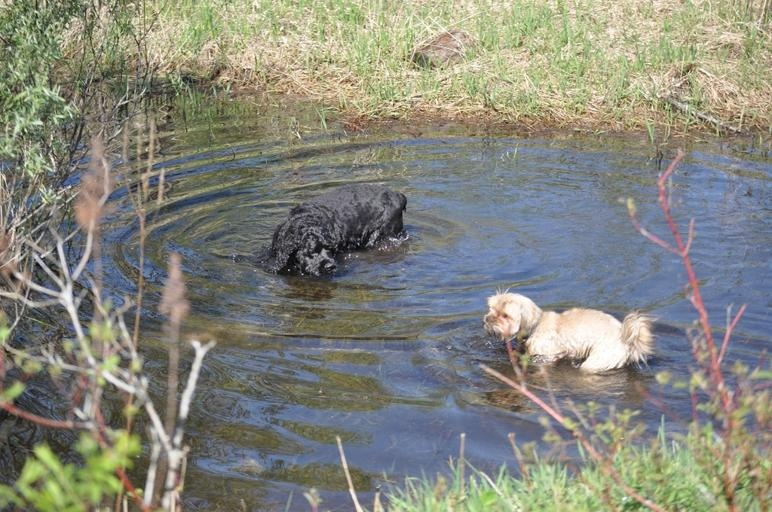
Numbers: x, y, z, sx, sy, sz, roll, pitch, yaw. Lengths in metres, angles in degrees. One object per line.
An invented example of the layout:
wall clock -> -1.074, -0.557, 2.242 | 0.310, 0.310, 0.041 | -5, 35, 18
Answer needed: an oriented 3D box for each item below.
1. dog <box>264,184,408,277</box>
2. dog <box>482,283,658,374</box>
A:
dog -> -0.710, -0.399, 11.742 | 1.694, 0.566, 1.176 | -17, 28, -30
dog -> 2.023, 0.894, 9.496 | 1.859, 0.712, 0.618 | 6, 17, 2
